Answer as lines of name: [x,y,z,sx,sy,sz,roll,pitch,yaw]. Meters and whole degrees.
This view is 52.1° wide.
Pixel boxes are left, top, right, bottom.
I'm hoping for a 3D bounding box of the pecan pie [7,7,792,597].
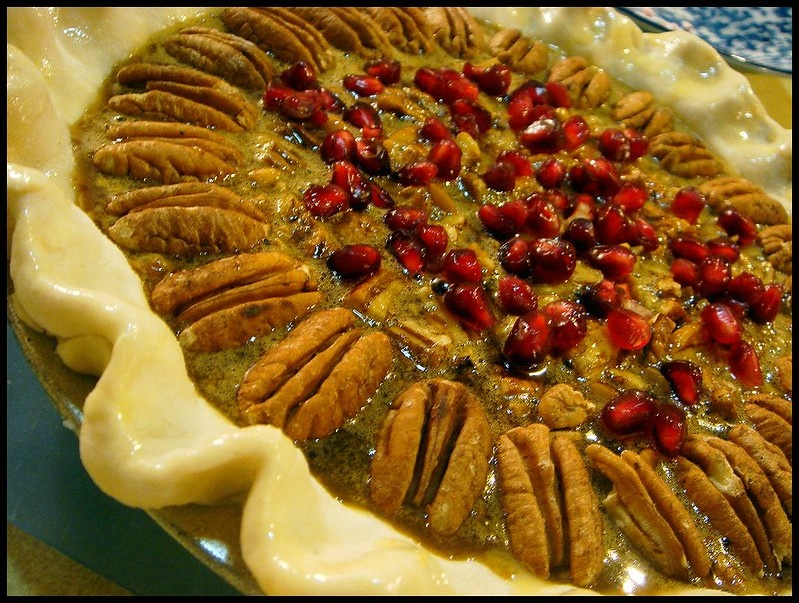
pecan pie: [0.135,-0.083,2.338,2.302,0.339,2.018,-1,58,-21]
